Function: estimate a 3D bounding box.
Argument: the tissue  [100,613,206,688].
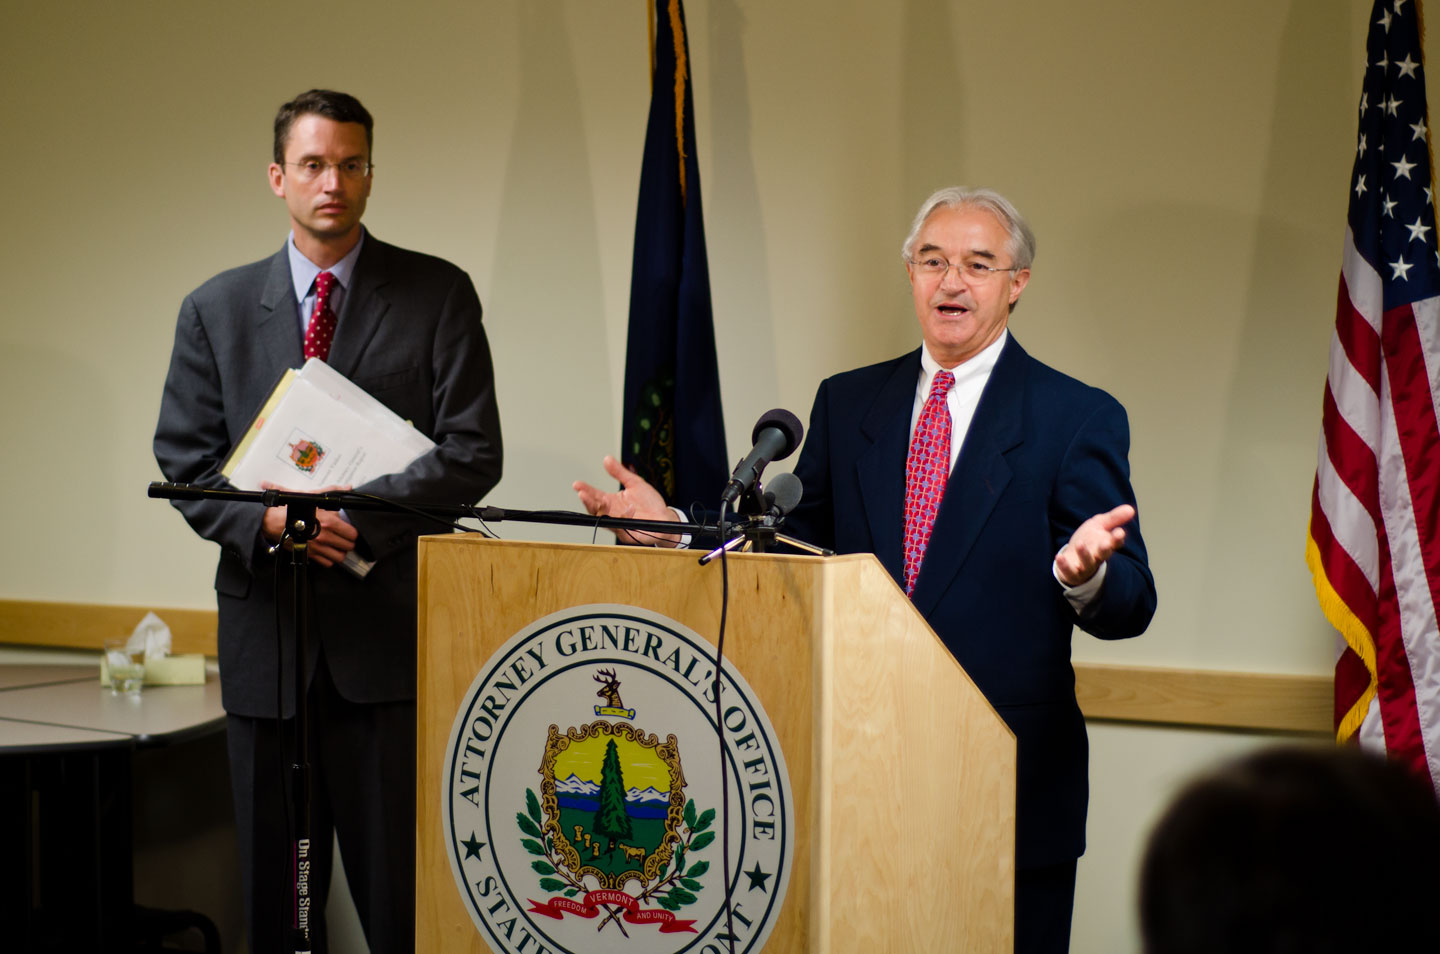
[{"bbox_3d":[-1.883,0.600,4.531,0.279,0.291,0.272,6,19,9],"label":"tissue "}]

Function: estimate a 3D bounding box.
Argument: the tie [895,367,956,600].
[{"bbox_3d":[0.504,0.021,3.305,0.089,0.682,0.063,7,-19,8],"label":"tie"}]

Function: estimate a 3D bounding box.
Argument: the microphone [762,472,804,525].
[{"bbox_3d":[0.127,0.039,2.730,0.053,0.117,0.101,5,19,10],"label":"microphone"}]
